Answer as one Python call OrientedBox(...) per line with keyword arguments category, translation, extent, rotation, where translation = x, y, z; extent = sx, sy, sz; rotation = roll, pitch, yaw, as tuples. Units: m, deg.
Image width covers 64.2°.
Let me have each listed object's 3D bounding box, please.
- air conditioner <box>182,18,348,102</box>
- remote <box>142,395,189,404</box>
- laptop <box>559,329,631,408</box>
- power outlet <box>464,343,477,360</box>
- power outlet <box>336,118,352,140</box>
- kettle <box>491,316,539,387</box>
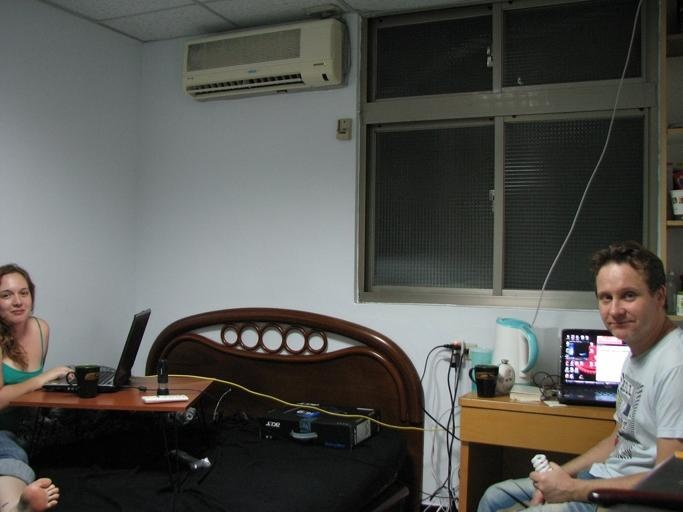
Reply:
OrientedBox(category="air conditioner", translation=(-0.538, -1.326, 3.693), extent=(1.161, 0.455, 0.203), rotation=(3, 4, 19))
OrientedBox(category="remote", translation=(-0.865, 0.702, 2.658), extent=(0.128, 0.019, 0.079), rotation=(1, -3, -12))
OrientedBox(category="laptop", translation=(1.327, 0.583, 2.888), extent=(0.453, 0.335, 0.369), rotation=(3, 5, 14))
OrientedBox(category="power outlet", translation=(0.776, 0.582, 3.254), extent=(0.073, 0.083, 0.084), rotation=(0, -2, 11))
OrientedBox(category="power outlet", translation=(0.021, -0.835, 3.600), extent=(0.113, 0.150, 0.055), rotation=(2, 4, 5))
OrientedBox(category="kettle", translation=(0.972, 0.508, 3.027), extent=(0.203, 0.378, 0.217), rotation=(3, -2, 26))
